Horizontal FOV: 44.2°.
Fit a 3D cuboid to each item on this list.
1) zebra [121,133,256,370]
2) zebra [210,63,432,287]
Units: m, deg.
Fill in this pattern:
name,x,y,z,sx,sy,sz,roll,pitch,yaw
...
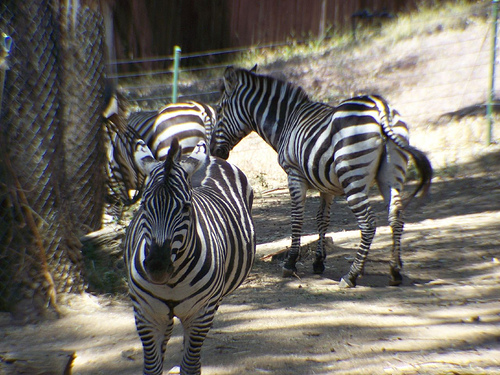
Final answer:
name,x,y,z,sx,sy,sz,roll,pitch,yaw
zebra,-0.549,0.531,5.618,0.747,2.043,1.438,5,14,24
zebra,0.809,-0.199,8.175,1.015,2.823,3.472,-11,11,-42
